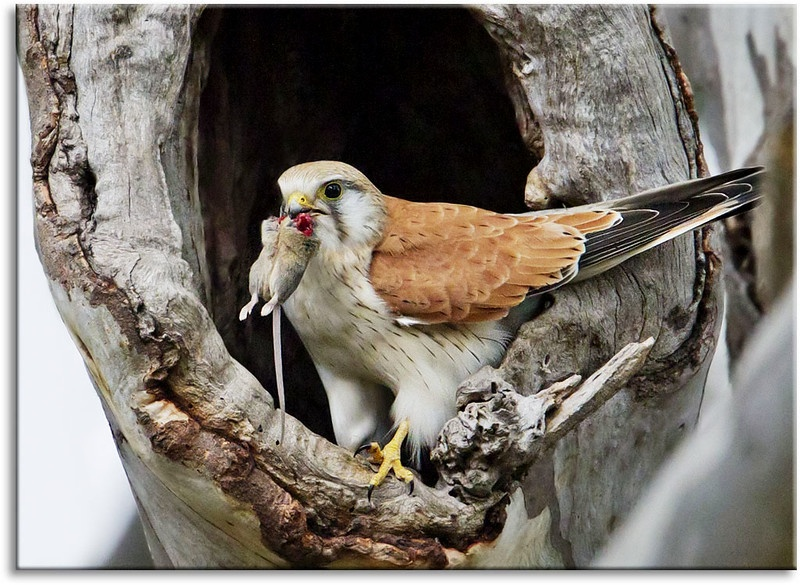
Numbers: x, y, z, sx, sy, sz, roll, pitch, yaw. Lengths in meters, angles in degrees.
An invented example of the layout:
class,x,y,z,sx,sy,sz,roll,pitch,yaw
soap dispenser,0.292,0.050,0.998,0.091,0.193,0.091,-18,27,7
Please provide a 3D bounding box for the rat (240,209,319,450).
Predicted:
class,x,y,z,sx,sy,sz,roll,pitch,yaw
rat,-0.317,0.034,3.602,0.118,0.486,0.197,14,-38,-16

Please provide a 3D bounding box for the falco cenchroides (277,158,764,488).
class,x,y,z,sx,sy,sz,roll,pitch,yaw
falco cenchroides,0.190,-0.064,4.021,1.048,0.874,1.353,6,15,27
